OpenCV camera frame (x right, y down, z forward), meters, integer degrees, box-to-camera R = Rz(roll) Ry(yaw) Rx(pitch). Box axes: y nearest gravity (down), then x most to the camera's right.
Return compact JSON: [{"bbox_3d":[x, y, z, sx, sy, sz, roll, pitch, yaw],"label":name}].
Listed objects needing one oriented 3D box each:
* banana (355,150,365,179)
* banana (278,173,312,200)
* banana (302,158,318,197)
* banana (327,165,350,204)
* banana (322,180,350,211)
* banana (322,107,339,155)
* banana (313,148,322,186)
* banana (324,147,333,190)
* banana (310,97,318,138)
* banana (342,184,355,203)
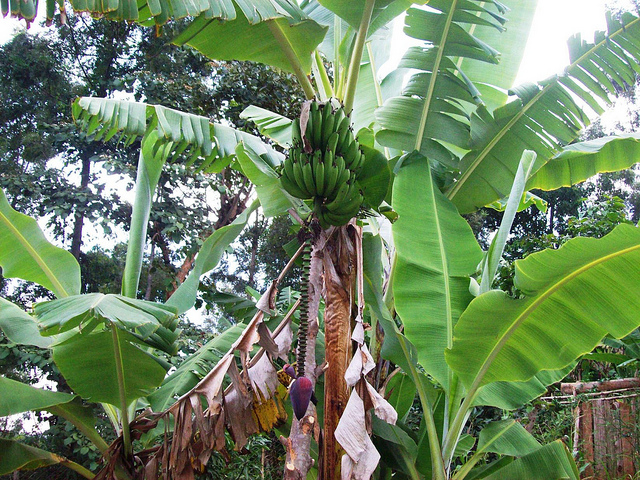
[{"bbox_3d":[0.350,-0.650,4.961,0.058,0.283,0.089,0,14,-37],"label":"banana"},{"bbox_3d":[-0.207,-0.467,4.864,0.253,0.096,0.044,47,-40,-9],"label":"banana"},{"bbox_3d":[-0.095,-0.507,4.795,0.074,0.120,0.364,0,-68,17],"label":"banana"},{"bbox_3d":[0.150,-0.472,4.718,0.107,0.333,0.059,36,9,24],"label":"banana"},{"bbox_3d":[0.134,-0.377,4.730,0.039,0.086,0.243,21,-72,-24],"label":"banana"},{"bbox_3d":[0.084,-0.960,4.792,0.070,0.470,0.070,10,1,6],"label":"banana"},{"bbox_3d":[-0.027,-0.615,4.696,0.047,0.279,0.067,3,1,0],"label":"banana"},{"bbox_3d":[0.059,-0.602,4.698,0.049,0.324,0.074,3,2,29],"label":"banana"},{"bbox_3d":[-0.054,-1.014,4.778,0.075,0.328,0.109,1,-7,8],"label":"banana"},{"bbox_3d":[0.236,-0.384,4.770,0.049,0.068,0.210,16,-70,-2],"label":"banana"}]
